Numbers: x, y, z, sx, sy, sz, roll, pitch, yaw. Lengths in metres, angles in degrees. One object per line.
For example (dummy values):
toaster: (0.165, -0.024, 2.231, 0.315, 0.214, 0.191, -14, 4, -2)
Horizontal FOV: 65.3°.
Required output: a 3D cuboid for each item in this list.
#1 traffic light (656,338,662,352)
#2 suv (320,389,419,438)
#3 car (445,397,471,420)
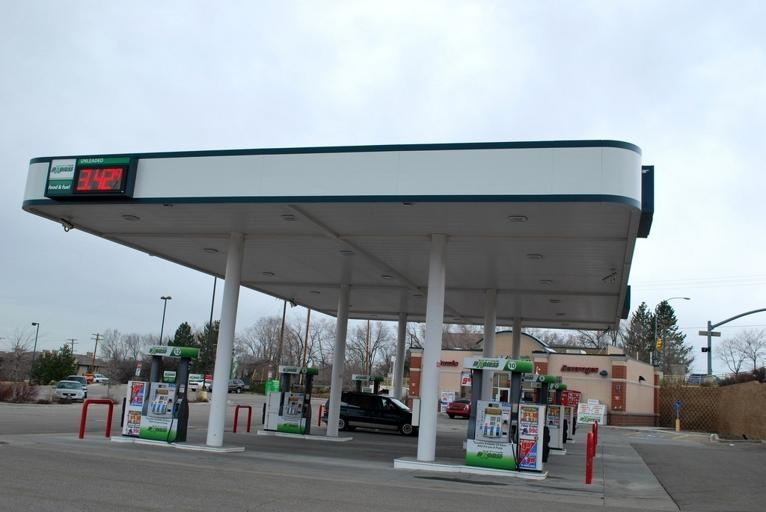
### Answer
traffic light: (18.937, 5.964, 41.171, 0.241, 0.627, 1.271, -6, -17, 29)
suv: (-0.701, 8.006, 30.634, 4.659, 1.773, 2.276, -4, -12, 15)
car: (5.951, 11.982, 46.769, 1.729, 1.466, 1.915, -3, -15, 20)
